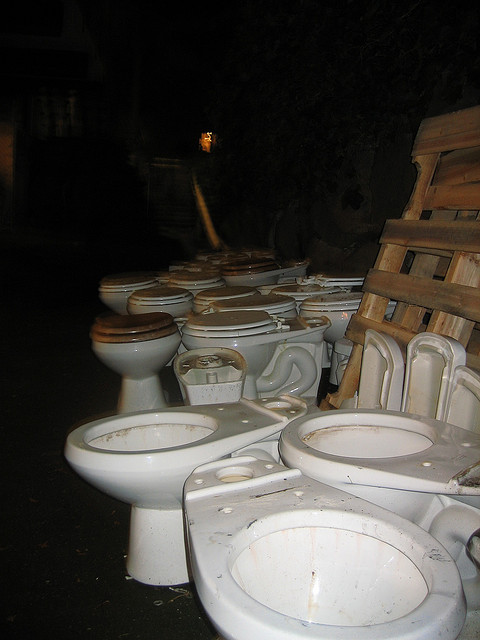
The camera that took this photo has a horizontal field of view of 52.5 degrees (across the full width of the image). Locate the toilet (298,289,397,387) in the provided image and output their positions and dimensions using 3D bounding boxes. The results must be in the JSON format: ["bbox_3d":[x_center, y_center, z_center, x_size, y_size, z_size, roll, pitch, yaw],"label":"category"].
[{"bbox_3d":[0.450,0.124,2.446,0.294,0.476,0.529,-4,-27,41],"label":"toilet"}]

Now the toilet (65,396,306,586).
[{"bbox_3d":[-0.084,0.427,1.258,0.636,0.393,0.334,-4,10,-27],"label":"toilet"}]

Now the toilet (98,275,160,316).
[{"bbox_3d":[-0.727,-0.190,3.202,0.328,0.200,0.310,-3,10,-19],"label":"toilet"}]

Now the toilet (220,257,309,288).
[{"bbox_3d":[0.160,-0.321,3.377,0.493,0.174,0.303,-7,8,-21],"label":"toilet"}]

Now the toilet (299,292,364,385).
[{"bbox_3d":[0.390,0.007,2.438,0.329,0.327,0.217,-8,13,-21],"label":"toilet"}]

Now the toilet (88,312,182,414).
[{"bbox_3d":[-0.470,0.227,2.265,0.408,0.445,0.393,-7,14,-14],"label":"toilet"}]

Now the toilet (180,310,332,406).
[{"bbox_3d":[0.084,0.238,2.082,0.610,0.476,0.278,-4,9,-9],"label":"toilet"}]

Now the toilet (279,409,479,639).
[{"bbox_3d":[0.270,0.352,1.038,0.457,0.402,0.273,4,12,17],"label":"toilet"}]

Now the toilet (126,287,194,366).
[{"bbox_3d":[-0.448,0.002,2.860,0.467,0.398,0.425,-3,15,-14],"label":"toilet"}]
